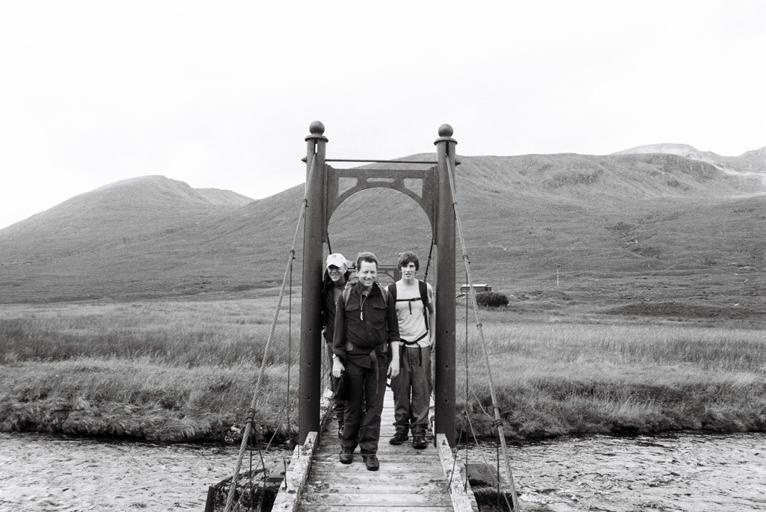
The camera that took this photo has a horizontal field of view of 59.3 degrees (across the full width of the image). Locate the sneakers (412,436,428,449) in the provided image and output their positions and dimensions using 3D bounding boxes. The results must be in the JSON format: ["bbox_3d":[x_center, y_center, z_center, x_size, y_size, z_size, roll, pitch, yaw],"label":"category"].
[{"bbox_3d":[1.122,5.771,20.778,0.274,0.238,0.534,2,-7,7],"label":"sneakers"}]
